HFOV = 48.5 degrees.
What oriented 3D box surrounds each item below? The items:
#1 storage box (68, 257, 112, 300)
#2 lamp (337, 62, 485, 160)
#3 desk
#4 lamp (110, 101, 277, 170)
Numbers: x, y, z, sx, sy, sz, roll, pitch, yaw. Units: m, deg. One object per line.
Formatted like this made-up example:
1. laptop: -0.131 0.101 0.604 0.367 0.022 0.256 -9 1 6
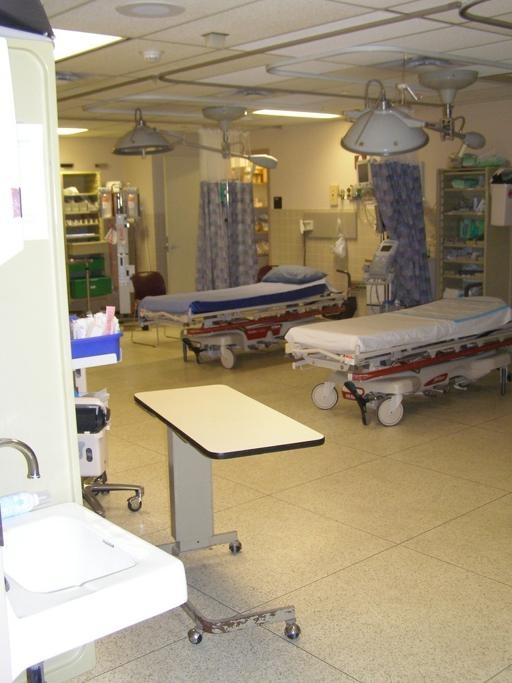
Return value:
1. storage box: -2.982 -1.178 10.092 0.419 0.747 0.944 6 12 41
2. lamp: 1.175 -1.681 4.158 1.190 0.519 0.593 -5 19 -11
3. desk: -0.155 0.686 2.391 0.565 0.751 1.111 -3 4 -23
4. lamp: -0.570 -1.971 5.646 1.550 0.617 0.490 -2 8 -6
